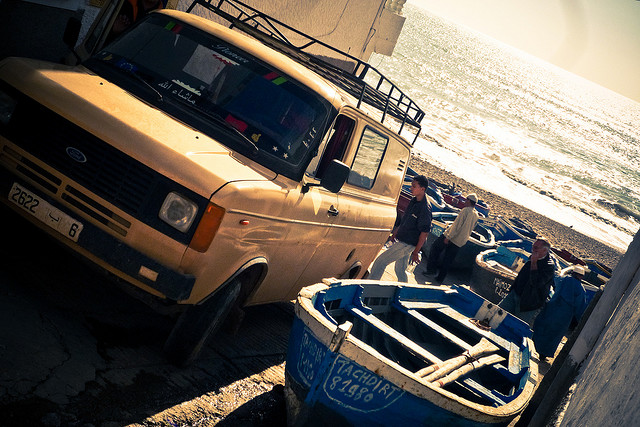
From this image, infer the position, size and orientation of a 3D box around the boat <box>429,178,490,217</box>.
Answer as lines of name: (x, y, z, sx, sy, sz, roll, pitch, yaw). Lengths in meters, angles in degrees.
boat: (5.694, -0.811, 20.969, 2.324, 0.863, 4.083, 34, 6, 4)

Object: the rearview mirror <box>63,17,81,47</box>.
rearview mirror: (-2.749, -2.015, 5.482, 0.178, 0.303, 0.067, 12, 5, -31)

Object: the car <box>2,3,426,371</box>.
car: (-0.734, -0.731, 6.983, 3.617, 3.146, 5.786, 33, 9, 14)

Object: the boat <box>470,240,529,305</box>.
boat: (4.399, 1.336, 12.170, 1.204, 0.888, 2.319, 26, 27, 15)

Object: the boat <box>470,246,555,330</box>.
boat: (4.579, 1.474, 12.178, 1.376, 0.806, 2.681, 27, 23, 29)

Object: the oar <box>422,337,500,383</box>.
oar: (1.639, 1.715, 5.873, 0.974, 0.645, 0.557, -5, -9, -7)

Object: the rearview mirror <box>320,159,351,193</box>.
rearview mirror: (0.159, -0.437, 5.533, 0.260, 0.400, 0.208, 20, 3, -4)

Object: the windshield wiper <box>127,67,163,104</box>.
windshield wiper: (-1.790, -1.311, 5.098, 0.601, 0.061, 0.074, 42, 24, 23)

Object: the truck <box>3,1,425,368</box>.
truck: (-0.801, -0.422, 6.813, 3.519, 3.041, 5.619, 33, 13, 14)
